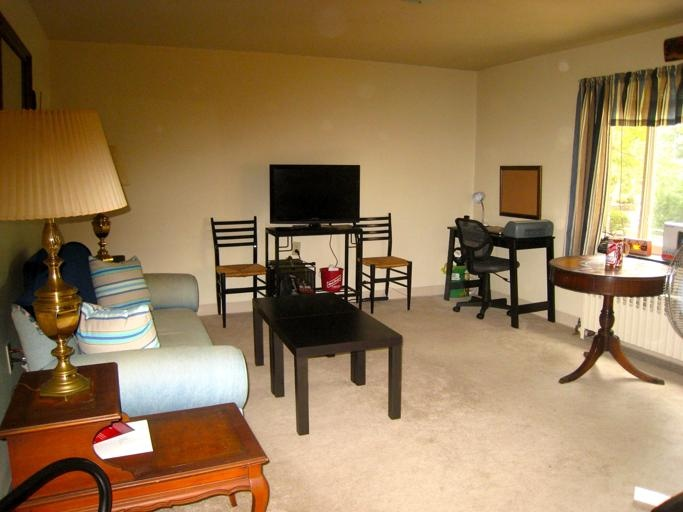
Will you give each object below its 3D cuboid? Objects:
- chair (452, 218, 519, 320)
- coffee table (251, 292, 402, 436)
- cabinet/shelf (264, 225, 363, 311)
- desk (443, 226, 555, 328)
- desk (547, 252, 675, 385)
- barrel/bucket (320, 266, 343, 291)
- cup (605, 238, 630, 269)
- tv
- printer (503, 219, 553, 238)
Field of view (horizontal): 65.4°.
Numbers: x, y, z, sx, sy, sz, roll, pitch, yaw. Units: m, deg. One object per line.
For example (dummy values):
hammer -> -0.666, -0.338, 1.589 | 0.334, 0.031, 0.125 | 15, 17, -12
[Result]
chair -> 1.588, 0.107, 5.896 | 0.589, 1.070, 0.650 | 3, 11, 35
coffee table -> -0.083, 0.568, 3.848 | 0.761, 0.623, 1.432 | -1, 7, -17
cabinet/shelf -> -0.338, 0.108, 5.647 | 0.828, 0.826, 0.332 | -4, 17, -14
desk -> 1.787, 0.142, 6.108 | 0.724, 1.102, 1.204 | -5, 11, -23
desk -> 2.156, 0.499, 4.324 | 0.775, 0.931, 0.815 | -1, 13, 10
barrel/bucket -> -0.094, 0.261, 6.019 | 0.228, 0.224, 0.249 | 0, 2, 0
cup -> 2.142, -0.022, 4.155 | 0.137, 0.199, 0.345 | 4, 11, 28
tv -> -0.323, -0.662, 5.810 | 0.697, 0.517, 0.204 | -1, 10, -13
printer -> 1.994, -0.289, 5.607 | 0.547, 0.183, 0.196 | -4, 10, -15
